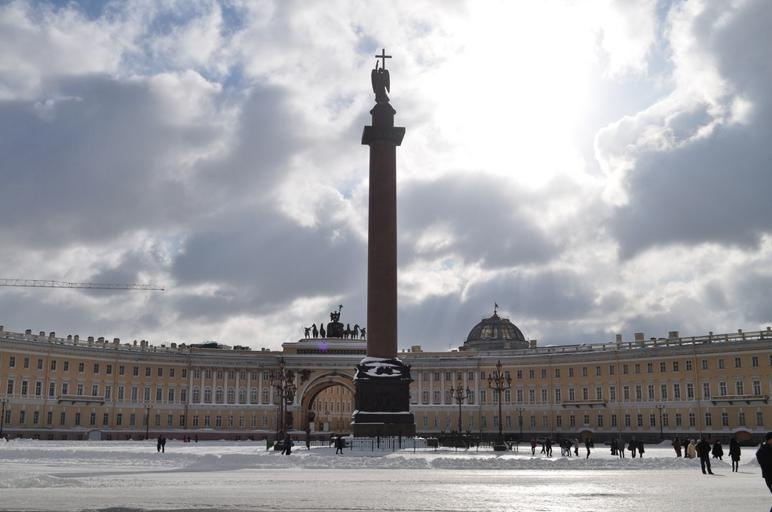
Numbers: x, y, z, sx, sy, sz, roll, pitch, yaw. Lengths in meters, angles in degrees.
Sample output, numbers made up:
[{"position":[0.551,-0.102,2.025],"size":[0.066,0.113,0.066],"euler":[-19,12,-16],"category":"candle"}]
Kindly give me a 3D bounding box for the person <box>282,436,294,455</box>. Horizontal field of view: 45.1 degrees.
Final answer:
[{"position":[-6.888,13.276,64.538],"size":[0.568,1.260,2.032],"euler":[1,4,-8],"category":"person"}]
